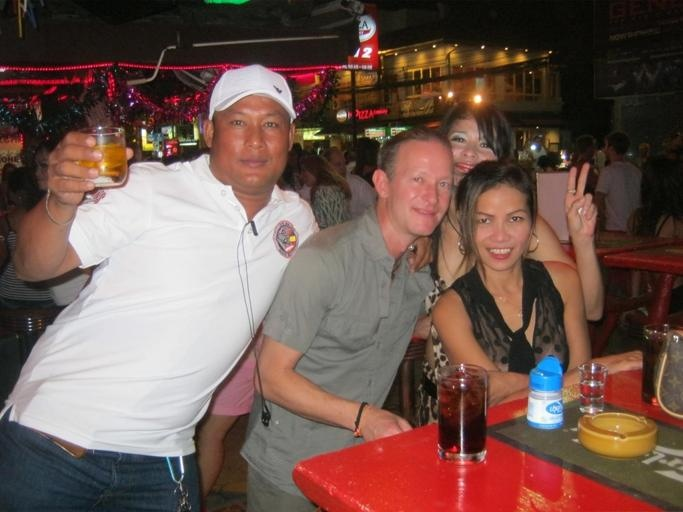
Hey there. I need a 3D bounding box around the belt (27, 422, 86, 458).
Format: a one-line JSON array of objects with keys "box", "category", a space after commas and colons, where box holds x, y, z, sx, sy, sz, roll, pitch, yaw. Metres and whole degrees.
[{"box": [-1.084, 0.725, 2.073, 0.273, 0.077, 0.020, 31, -18, -2], "category": "belt"}]

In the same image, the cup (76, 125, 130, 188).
[{"box": [-0.895, -0.388, 2.015, 0.154, 0.212, 0.133, 4, 18, 6], "category": "cup"}]

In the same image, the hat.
[{"box": [-0.435, -0.754, 2.491, 0.300, 0.157, 0.289, 2, 19, -19], "category": "hat"}]

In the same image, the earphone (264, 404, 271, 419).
[{"box": [-0.347, 0.728, 2.492, 0.039, 0.066, 0.026, -1, -3, 8], "category": "earphone"}]

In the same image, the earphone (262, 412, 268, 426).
[{"box": [-0.358, 0.761, 2.497, 0.043, 0.059, 0.018, 1, 10, 13], "category": "earphone"}]
